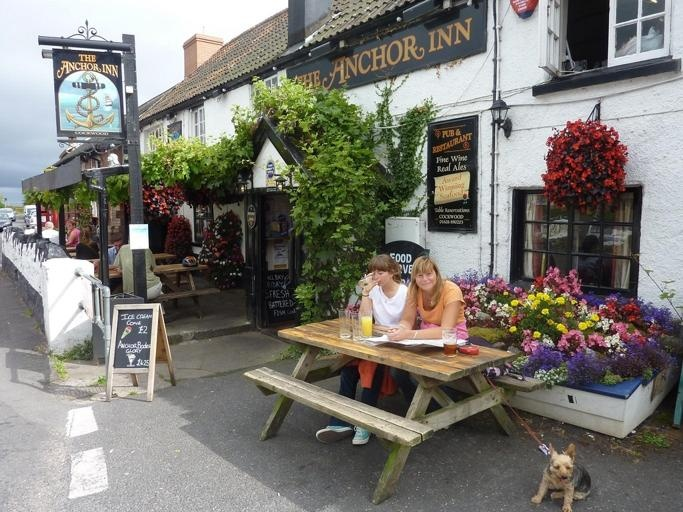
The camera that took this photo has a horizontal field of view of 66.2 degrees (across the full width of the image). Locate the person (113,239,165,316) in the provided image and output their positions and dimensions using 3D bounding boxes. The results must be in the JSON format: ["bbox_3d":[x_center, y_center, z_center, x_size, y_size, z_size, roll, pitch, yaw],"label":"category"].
[{"bbox_3d":[-3.529,0.375,9.237,0.646,1.120,1.645,-5,11,-22],"label":"person"}]

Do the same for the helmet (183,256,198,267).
[{"bbox_3d":[-3.116,0.109,10.751,0.205,0.157,0.306,-2,8,-25],"label":"helmet"}]

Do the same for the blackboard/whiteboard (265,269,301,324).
[{"bbox_3d":[-1.086,0.700,9.499,0.891,1.231,0.118,-5,4,-39],"label":"blackboard/whiteboard"}]

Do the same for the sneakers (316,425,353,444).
[{"bbox_3d":[-0.073,1.811,5.449,0.405,0.157,0.162,1,12,-25],"label":"sneakers"}]

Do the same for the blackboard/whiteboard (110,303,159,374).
[{"bbox_3d":[-2.559,1.003,6.484,0.586,0.786,0.322,0,10,4],"label":"blackboard/whiteboard"}]

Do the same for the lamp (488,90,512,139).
[{"bbox_3d":[2.134,-1.842,7.006,0.275,0.505,0.143,2,11,18],"label":"lamp"}]

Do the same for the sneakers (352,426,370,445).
[{"bbox_3d":[0.202,1.843,5.437,0.139,0.178,0.386,-2,-10,18],"label":"sneakers"}]
